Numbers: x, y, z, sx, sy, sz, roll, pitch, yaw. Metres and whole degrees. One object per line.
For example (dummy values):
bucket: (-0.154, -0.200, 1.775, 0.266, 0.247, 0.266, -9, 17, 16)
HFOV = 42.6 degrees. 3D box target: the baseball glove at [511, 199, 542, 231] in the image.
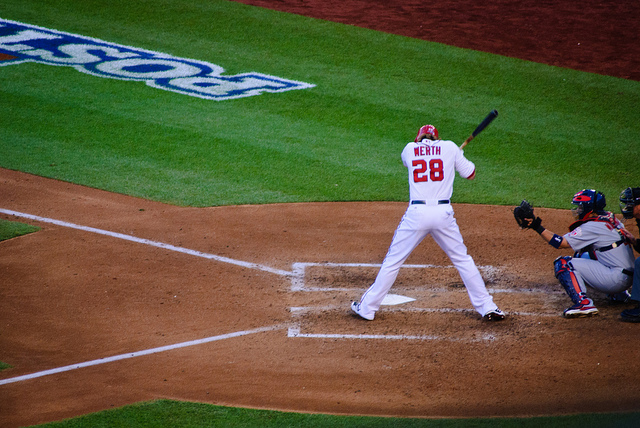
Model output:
baseball glove: (3.400, 0.030, 13.129, 0.521, 0.236, 0.397, 46, 73, -1)
